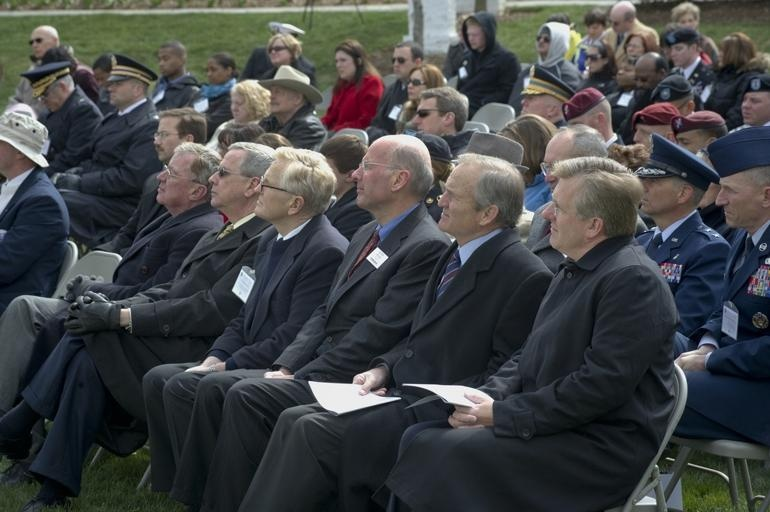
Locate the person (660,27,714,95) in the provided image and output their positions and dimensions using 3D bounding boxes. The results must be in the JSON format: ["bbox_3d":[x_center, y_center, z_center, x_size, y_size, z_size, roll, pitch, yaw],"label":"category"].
[{"bbox_3d":[3.584,-2.249,16.783,0.545,0.815,0.918,-7,14,-8],"label":"person"}]

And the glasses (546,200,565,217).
[{"bbox_3d":[1.421,-0.400,11.944,0.122,0.204,0.150,13,5,8],"label":"glasses"}]

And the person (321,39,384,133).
[{"bbox_3d":[-0.424,-2.134,18.687,0.862,1.247,0.998,0,4,-32],"label":"person"}]

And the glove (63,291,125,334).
[{"bbox_3d":[-2.650,0.534,13.153,0.525,0.353,0.219,0,13,-12],"label":"glove"}]

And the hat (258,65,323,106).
[{"bbox_3d":[-1.067,-1.961,16.891,0.603,0.217,0.498,30,-13,-39],"label":"hat"}]

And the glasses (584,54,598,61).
[{"bbox_3d":[2.554,-2.435,17.687,0.159,0.099,0.048,12,16,35],"label":"glasses"}]

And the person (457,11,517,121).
[{"bbox_3d":[1.187,-2.367,18.444,1.013,1.452,1.049,5,5,3],"label":"person"}]

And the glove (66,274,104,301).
[{"bbox_3d":[-2.859,0.342,13.749,0.306,0.156,0.228,-9,18,-7],"label":"glove"}]

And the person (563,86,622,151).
[{"bbox_3d":[2.091,-1.413,14.562,0.603,0.829,0.496,-7,3,13],"label":"person"}]

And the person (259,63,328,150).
[{"bbox_3d":[-1.112,-1.722,16.960,1.063,0.463,0.764,26,-12,2],"label":"person"}]

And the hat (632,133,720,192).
[{"bbox_3d":[2.578,-0.724,12.608,0.572,0.280,0.510,22,5,1],"label":"hat"}]

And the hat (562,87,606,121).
[{"bbox_3d":[2.039,-1.577,14.728,0.501,0.248,0.349,-18,3,-11],"label":"hat"}]

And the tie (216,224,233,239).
[{"bbox_3d":[-1.493,-0.224,13.530,0.158,0.063,0.113,-37,29,5],"label":"tie"}]

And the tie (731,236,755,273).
[{"bbox_3d":[3.068,-0.003,12.305,0.072,0.273,0.195,26,13,0],"label":"tie"}]

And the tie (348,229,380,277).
[{"bbox_3d":[-0.173,0.002,12.793,0.089,0.117,0.470,27,57,13],"label":"tie"}]

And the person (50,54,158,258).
[{"bbox_3d":[-3.289,-1.127,16.924,1.471,2.446,1.144,-10,20,-35],"label":"person"}]

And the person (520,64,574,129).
[{"bbox_3d":[1.909,-1.749,15.493,0.819,0.644,0.705,-1,3,6],"label":"person"}]

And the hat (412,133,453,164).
[{"bbox_3d":[0.468,-1.013,13.611,0.310,0.160,0.236,12,-1,-38],"label":"hat"}]

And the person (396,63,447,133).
[{"bbox_3d":[0.432,-1.859,16.722,0.663,0.834,0.564,3,24,0],"label":"person"}]

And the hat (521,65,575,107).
[{"bbox_3d":[1.784,-1.846,15.496,0.642,0.351,0.570,7,8,-30],"label":"hat"}]

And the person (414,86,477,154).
[{"bbox_3d":[0.623,-1.384,15.254,0.552,0.761,0.469,1,-8,-1],"label":"person"}]

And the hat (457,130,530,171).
[{"bbox_3d":[1.050,-1.025,13.727,0.478,0.189,0.416,22,0,19],"label":"hat"}]

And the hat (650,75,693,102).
[{"bbox_3d":[2.981,-1.721,14.877,0.335,0.179,0.266,-1,-1,-11],"label":"hat"}]

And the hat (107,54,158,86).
[{"bbox_3d":[-2.992,-2.193,17.069,0.444,0.235,0.383,1,2,-37],"label":"hat"}]

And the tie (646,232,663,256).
[{"bbox_3d":[2.400,-0.093,12.788,0.081,0.209,0.116,31,-8,-34],"label":"tie"}]

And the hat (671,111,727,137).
[{"bbox_3d":[3.005,-1.270,13.730,0.359,0.125,0.262,-3,3,-11],"label":"hat"}]

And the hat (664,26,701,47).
[{"bbox_3d":[3.480,-2.562,16.855,0.392,0.169,0.462,3,5,17],"label":"hat"}]
